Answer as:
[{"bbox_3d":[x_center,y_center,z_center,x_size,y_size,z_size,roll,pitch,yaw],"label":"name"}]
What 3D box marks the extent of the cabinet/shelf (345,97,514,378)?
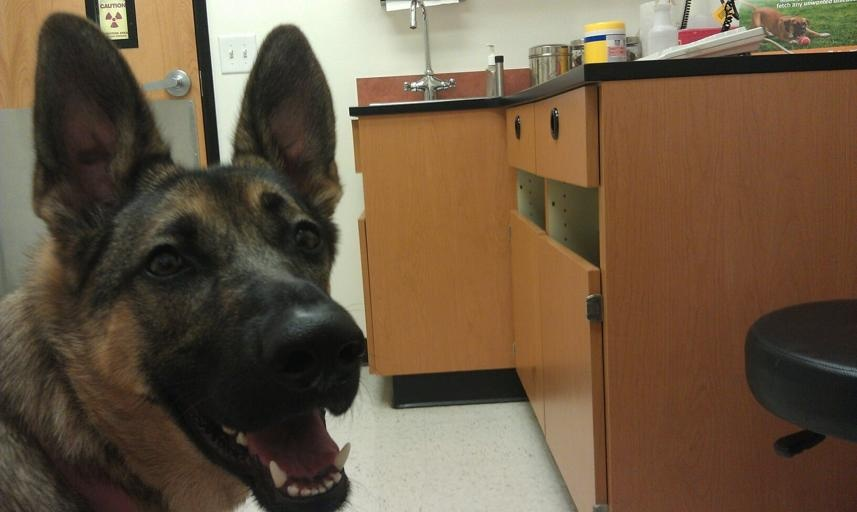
[{"bbox_3d":[0.101,-0.153,3.205,0.792,1.424,0.874,-2,11,-2],"label":"cabinet/shelf"}]
